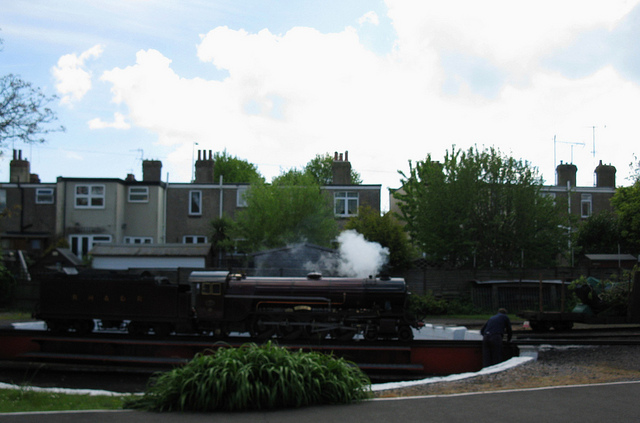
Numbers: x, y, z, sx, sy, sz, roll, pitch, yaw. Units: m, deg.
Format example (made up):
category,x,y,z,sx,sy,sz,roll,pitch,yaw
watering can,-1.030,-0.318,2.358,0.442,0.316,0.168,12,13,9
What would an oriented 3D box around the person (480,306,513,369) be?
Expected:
category,x,y,z,sx,sy,sz,roll,pitch,yaw
person,7.034,4.973,30.957,1.136,2.268,1.111,0,6,5
